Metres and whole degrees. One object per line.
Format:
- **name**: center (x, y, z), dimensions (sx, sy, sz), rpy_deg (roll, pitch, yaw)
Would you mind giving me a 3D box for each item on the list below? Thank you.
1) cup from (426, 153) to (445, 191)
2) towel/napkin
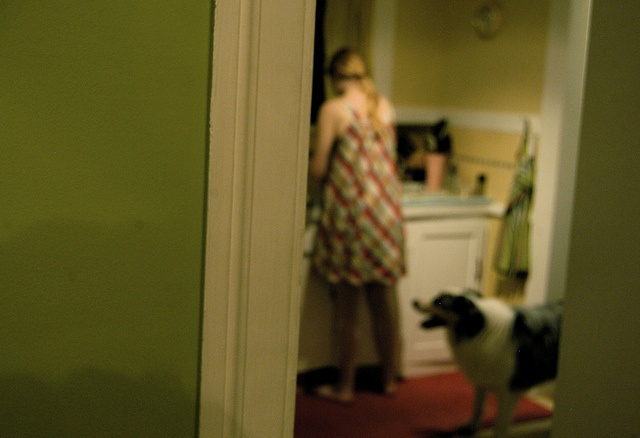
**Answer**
- **cup**: center (0.336, -0.134, 1.816), dimensions (0.066, 0.101, 0.034), rpy_deg (6, 4, 7)
- **towel/napkin**: center (0.605, -0.055, 1.950), dimensions (0.122, 0.483, 0.022), rpy_deg (-2, 8, -22)
